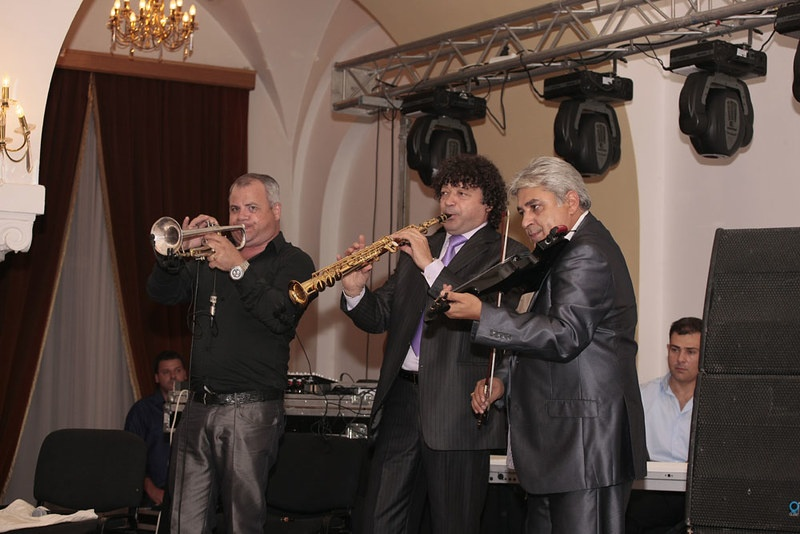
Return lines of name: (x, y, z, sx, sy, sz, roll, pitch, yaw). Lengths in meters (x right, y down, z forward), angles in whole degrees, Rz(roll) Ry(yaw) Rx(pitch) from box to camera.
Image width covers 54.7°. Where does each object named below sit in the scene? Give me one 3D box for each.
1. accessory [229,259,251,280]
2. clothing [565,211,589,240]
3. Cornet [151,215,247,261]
accessory: (-0.844, 0.022, 4.082, 0.106, 0.070, 0.099, -37, -13, -26)
clothing: (0.826, -0.183, 3.704, 0.031, 0.131, 0.127, 36, -38, 11)
Cornet: (-1.045, -0.189, 4.178, 0.230, 0.290, 0.520, 8, 9, 43)
